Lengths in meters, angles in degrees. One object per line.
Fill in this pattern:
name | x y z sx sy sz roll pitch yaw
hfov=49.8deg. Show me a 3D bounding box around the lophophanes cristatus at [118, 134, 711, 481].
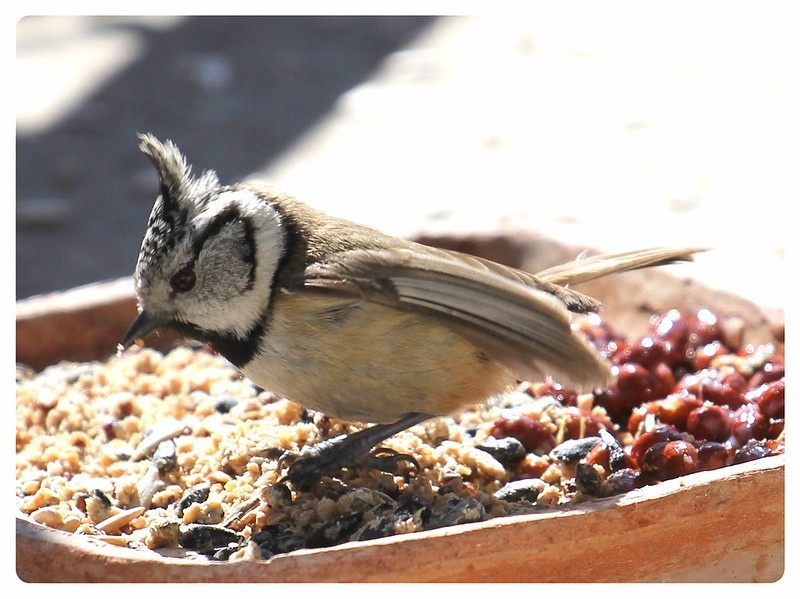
lophophanes cristatus | -0.132 -0.002 2.808 1.571 0.936 1.320 -2 9 -16
